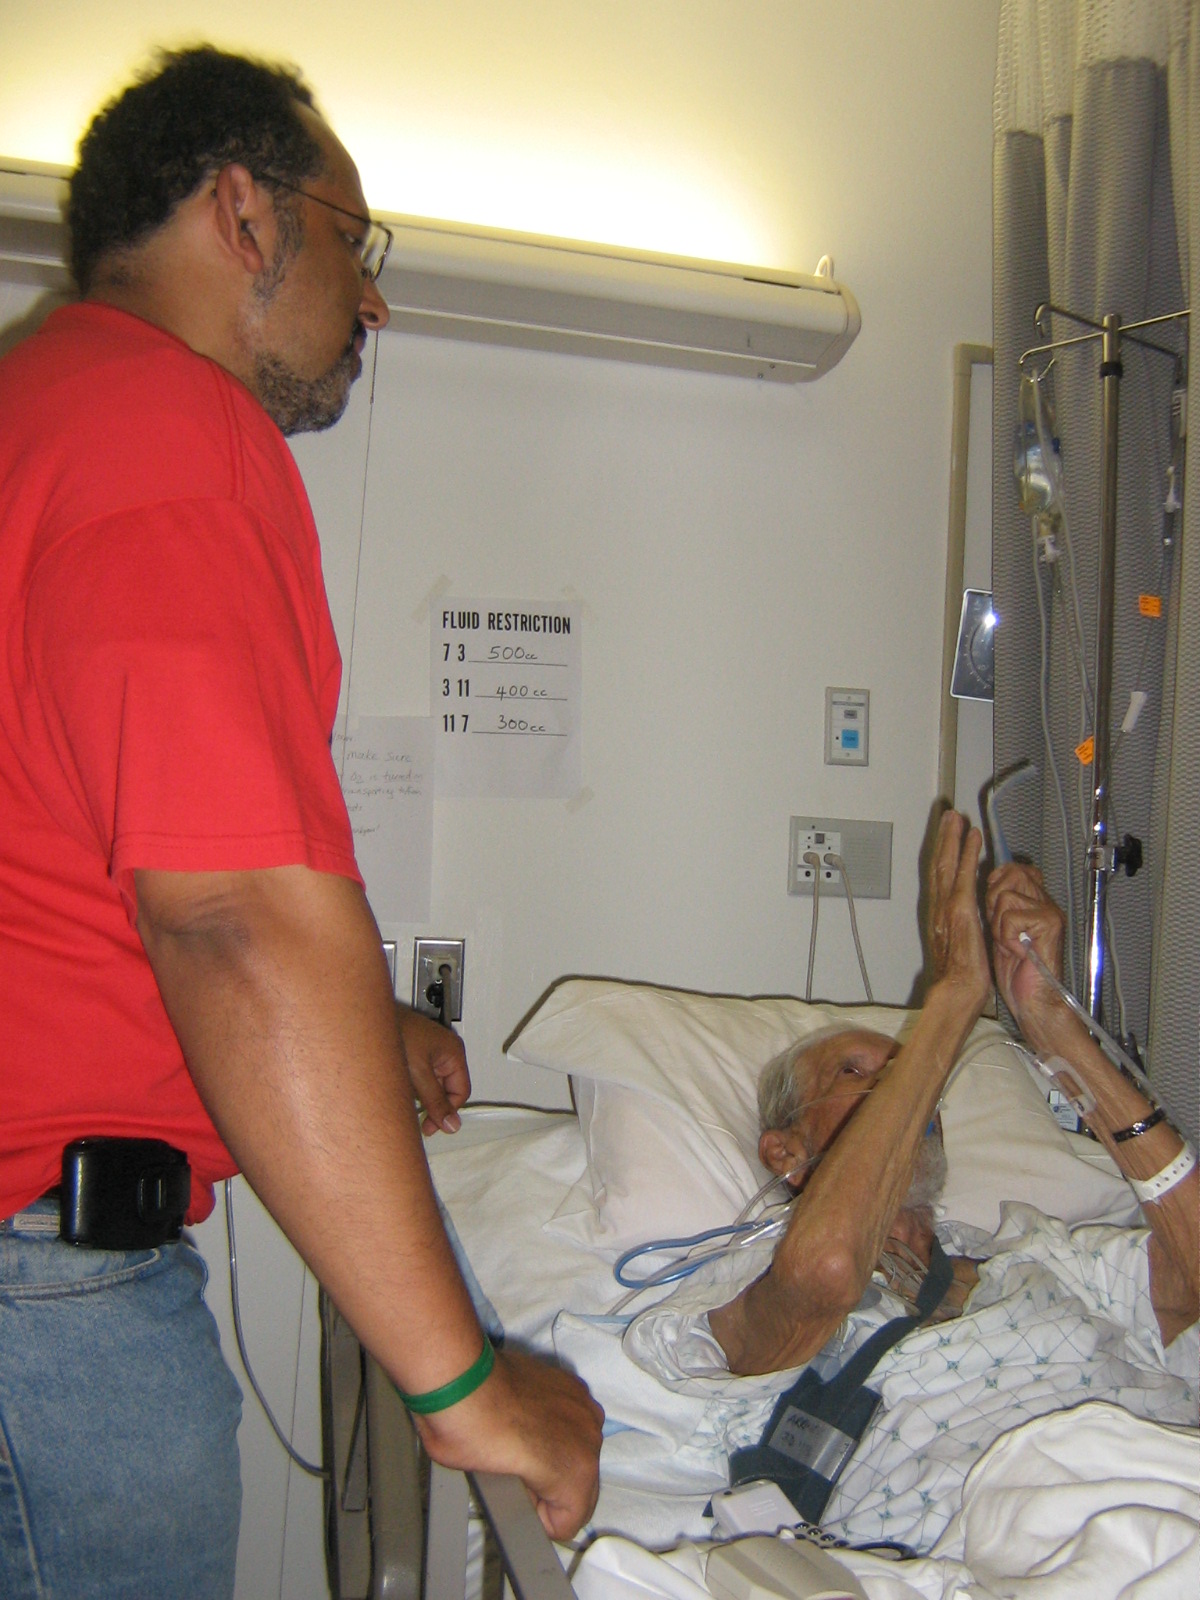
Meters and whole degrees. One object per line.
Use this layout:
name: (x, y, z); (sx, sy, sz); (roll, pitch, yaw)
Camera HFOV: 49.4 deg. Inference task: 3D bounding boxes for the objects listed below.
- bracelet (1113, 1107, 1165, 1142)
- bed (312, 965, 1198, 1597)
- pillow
bracelet: (0.619, 0.372, 1.502); (0.040, 0.009, 0.041); (-22, 1, 40)
bed: (0.098, 0.497, 1.686); (0.956, 0.860, 0.546); (3, -13, -45)
pillow: (0.183, 0.390, 1.789); (0.477, 0.113, 0.447); (2, 15, -9)
